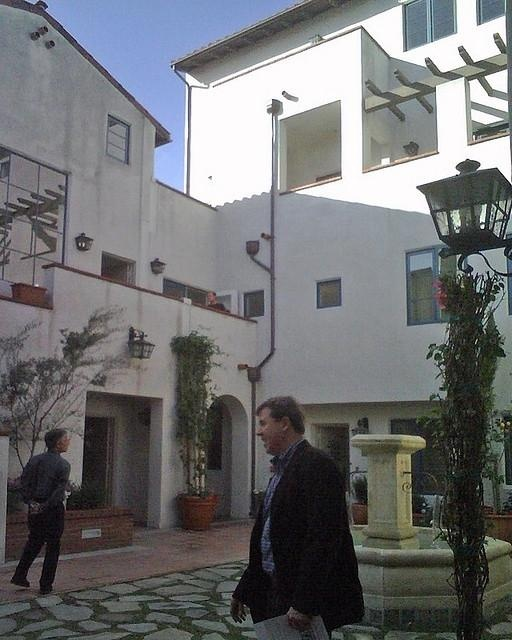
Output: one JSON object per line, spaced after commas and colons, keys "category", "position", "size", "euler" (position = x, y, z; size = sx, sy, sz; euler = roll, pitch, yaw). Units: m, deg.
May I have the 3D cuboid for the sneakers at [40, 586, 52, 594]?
{"category": "sneakers", "position": [-2.055, 2.661, 6.151], "size": [0.117, 0.057, 0.174], "euler": [4, -13, -19]}

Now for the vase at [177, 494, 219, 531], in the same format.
{"category": "vase", "position": [-1.114, 3.760, 12.079], "size": [0.627, 0.516, 0.672], "euler": [-2, -22, 4]}

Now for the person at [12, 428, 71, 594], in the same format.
{"category": "person", "position": [-2.158, 1.915, 6.368], "size": [0.504, 1.601, 0.667], "euler": [4, -12, -21]}

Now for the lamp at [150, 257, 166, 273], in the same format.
{"category": "lamp", "position": [-2.182, -1.166, 13.957], "size": [0.321, 0.404, 0.296], "euler": [-2, -13, 7]}

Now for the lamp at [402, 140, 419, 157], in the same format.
{"category": "lamp", "position": [3.724, -4.147, 15.254], "size": [0.345, 0.433, 0.274], "euler": [-3, -12, 15]}

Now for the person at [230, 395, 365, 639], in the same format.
{"category": "person", "position": [0.161, 0.758, 2.468], "size": [0.479, 0.935, 0.660], "euler": [0, -12, -1]}

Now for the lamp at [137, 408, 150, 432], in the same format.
{"category": "lamp", "position": [-2.431, 2.137, 13.610], "size": [0.229, 0.441, 0.409], "euler": [4, -12, -18]}

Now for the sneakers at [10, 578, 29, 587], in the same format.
{"category": "sneakers", "position": [-2.387, 2.662, 6.346], "size": [0.177, 0.086, 0.077], "euler": [27, -19, -14]}
